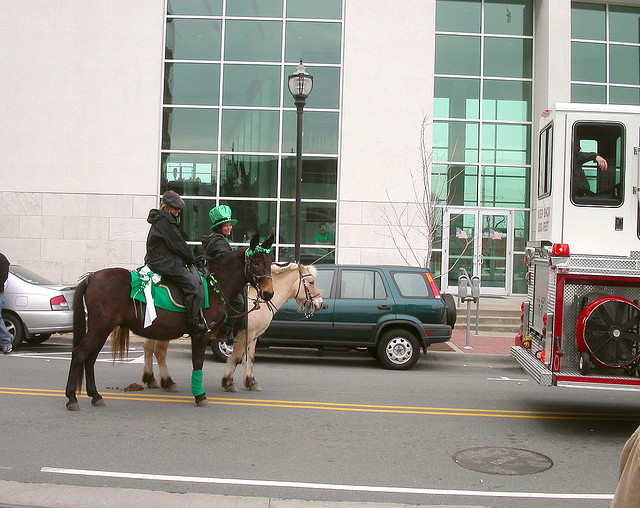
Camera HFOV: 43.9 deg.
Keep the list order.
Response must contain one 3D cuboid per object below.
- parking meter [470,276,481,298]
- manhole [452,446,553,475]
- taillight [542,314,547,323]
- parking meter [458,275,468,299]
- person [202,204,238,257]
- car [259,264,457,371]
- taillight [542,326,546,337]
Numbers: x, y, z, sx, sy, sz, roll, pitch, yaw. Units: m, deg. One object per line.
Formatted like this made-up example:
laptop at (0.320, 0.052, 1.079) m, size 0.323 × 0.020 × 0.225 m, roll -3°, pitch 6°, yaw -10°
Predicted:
parking meter at (4.101, 0.861, 20.917) m, size 0.202 × 0.585 × 0.620 m, roll 3°, pitch 7°, yaw 10°
manhole at (2.789, 3.135, 12.122) m, size 1.512 × 0.094 × 0.878 m, roll 1°, pitch 8°, yaw -6°
taillight at (3.895, 1.105, 13.714) m, size 0.038 × 0.129 × 0.088 m, roll 6°, pitch 12°, yaw 17°
parking meter at (3.787, 0.846, 20.957) m, size 0.208 × 0.529 × 0.911 m, roll 3°, pitch 8°, yaw 10°
person at (-2.030, -0.464, 15.500) m, size 0.785 × 1.207 × 1.032 m, roll -5°, pitch 9°, yaw -22°
car at (0.776, 1.478, 18.429) m, size 4.192 × 2.035 × 2.153 m, roll 1°, pitch -6°, yaw 1°
taillight at (3.898, 1.328, 13.769) m, size 0.097 × 0.196 × 0.185 m, roll -1°, pitch 0°, yaw 9°
